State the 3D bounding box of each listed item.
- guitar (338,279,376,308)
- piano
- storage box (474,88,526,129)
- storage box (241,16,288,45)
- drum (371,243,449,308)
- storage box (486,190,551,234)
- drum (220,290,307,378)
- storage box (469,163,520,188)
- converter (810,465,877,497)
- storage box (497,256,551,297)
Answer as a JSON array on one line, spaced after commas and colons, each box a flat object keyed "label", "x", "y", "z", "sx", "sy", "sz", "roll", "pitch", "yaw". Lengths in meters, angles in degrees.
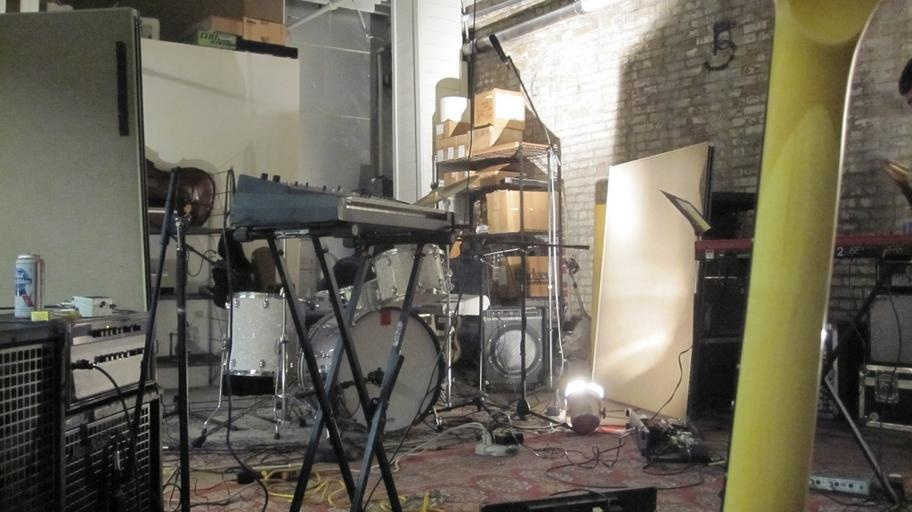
[{"label": "guitar", "x": -0.768, "y": 0.303, "z": 6.804, "sx": 0.304, "sy": 0.138, "sz": 0.251, "roll": -10, "pitch": -9, "yaw": 41}, {"label": "piano", "x": -0.642, "y": -0.267, "z": 4.791, "sx": 1.229, "sy": 0.388, "sz": 0.431, "roll": -4, "pitch": 14, "yaw": -15}, {"label": "storage box", "x": 0.502, "y": -1.589, "z": 9.338, "sx": 0.492, "sy": 0.352, "sz": 0.483, "roll": 1, "pitch": -3, "yaw": -29}, {"label": "storage box", "x": -2.018, "y": -2.284, "z": 8.762, "sx": 0.385, "sy": 0.173, "sz": 0.260, "roll": 1, "pitch": 1, "yaw": -33}, {"label": "drum", "x": -0.310, "y": 0.167, "z": 6.736, "sx": 0.673, "sy": 0.589, "sz": 0.357, "roll": -11, "pitch": 18, "yaw": -36}, {"label": "storage box", "x": 0.774, "y": -0.502, "z": 9.382, "sx": 0.463, "sy": 0.558, "sz": 0.837, "roll": -9, "pitch": 0, "yaw": 5}, {"label": "drum", "x": -1.504, "y": 0.612, "z": 6.906, "sx": 0.752, "sy": 0.716, "sz": 0.733, "roll": 1, "pitch": -5, "yaw": -24}, {"label": "storage box", "x": 0.464, "y": -0.881, "z": 9.240, "sx": 0.505, "sy": 0.248, "sz": 0.491, "roll": -2, "pitch": -1, "yaw": -36}, {"label": "converter", "x": 2.539, "y": 1.489, "z": 5.570, "sx": 0.374, "sy": 0.100, "sz": 0.192, "roll": 4, "pitch": 14, "yaw": 20}, {"label": "storage box", "x": 0.883, "y": 0.225, "z": 9.244, "sx": 0.308, "sy": 0.396, "sz": 0.565, "roll": -2, "pitch": -3, "yaw": 7}]
